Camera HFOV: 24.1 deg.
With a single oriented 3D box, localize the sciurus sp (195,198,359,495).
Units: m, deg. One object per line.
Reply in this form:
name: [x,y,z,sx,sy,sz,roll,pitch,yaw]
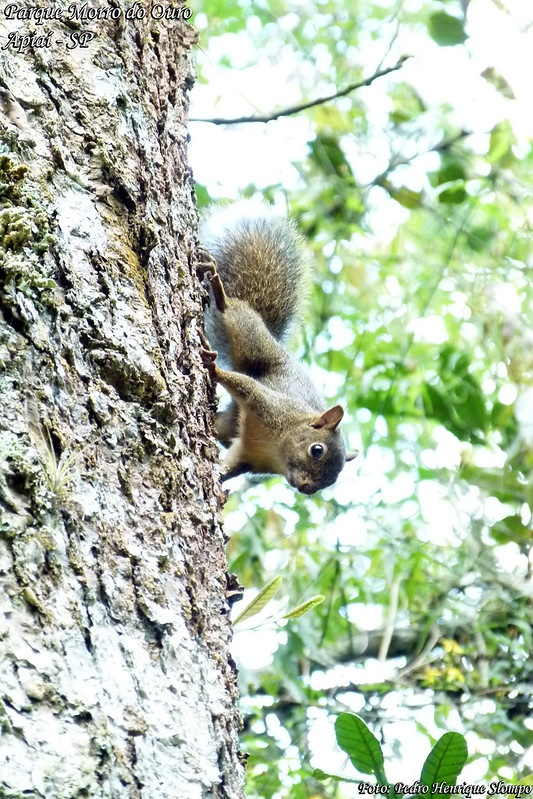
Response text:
sciurus sp: [0.004,-0.215,5.056,0.768,1.274,0.541,-12,-7,-17]
